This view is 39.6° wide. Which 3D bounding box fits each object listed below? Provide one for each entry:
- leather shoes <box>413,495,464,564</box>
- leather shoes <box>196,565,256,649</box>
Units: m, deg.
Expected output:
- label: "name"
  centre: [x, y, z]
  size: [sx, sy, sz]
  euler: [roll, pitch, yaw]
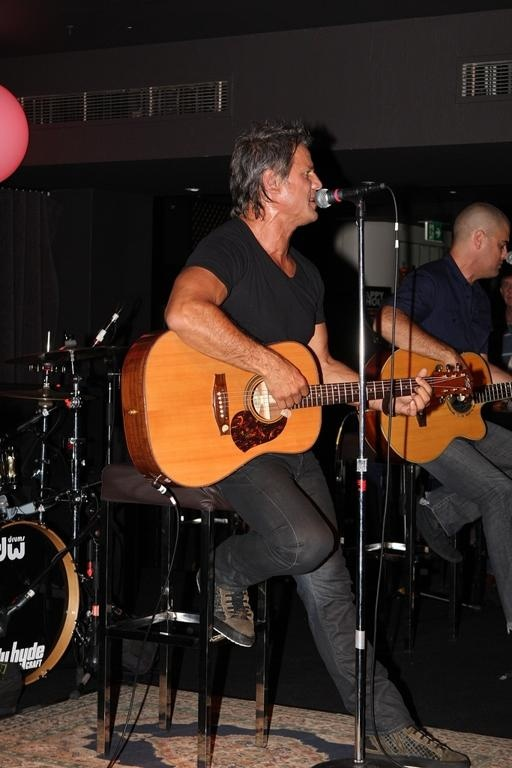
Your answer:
- label: "leather shoes"
  centre: [0.805, 0.622, 3.178]
  size: [0.122, 0.160, 0.381]
  euler: [-15, 12, 0]
- label: "leather shoes"
  centre: [-0.092, 0.592, 1.993]
  size: [0.104, 0.273, 0.101]
  euler: [-16, -13, 19]
